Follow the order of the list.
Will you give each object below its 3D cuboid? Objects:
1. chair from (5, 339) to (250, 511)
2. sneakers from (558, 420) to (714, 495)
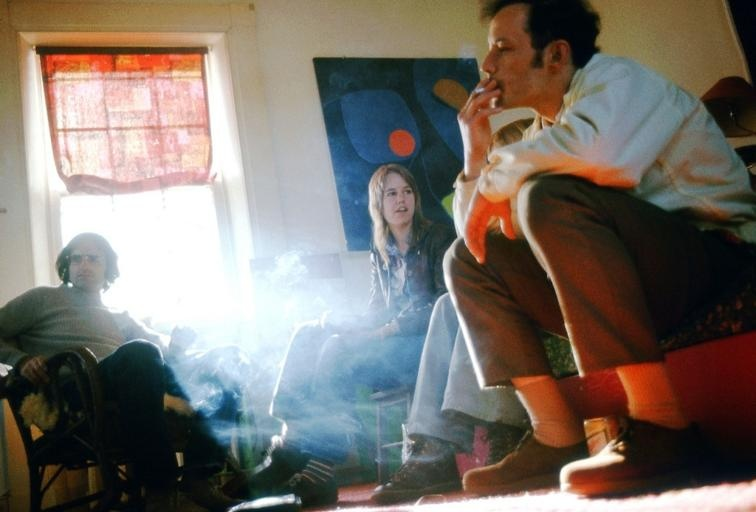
[{"bbox_3d":[-0.939,0.632,2.588,0.844,0.682,0.591,-7,2,5],"label":"chair"},{"bbox_3d":[0.692,0.545,1.764,0.445,0.187,0.163,-5,-13,-7],"label":"sneakers"}]
